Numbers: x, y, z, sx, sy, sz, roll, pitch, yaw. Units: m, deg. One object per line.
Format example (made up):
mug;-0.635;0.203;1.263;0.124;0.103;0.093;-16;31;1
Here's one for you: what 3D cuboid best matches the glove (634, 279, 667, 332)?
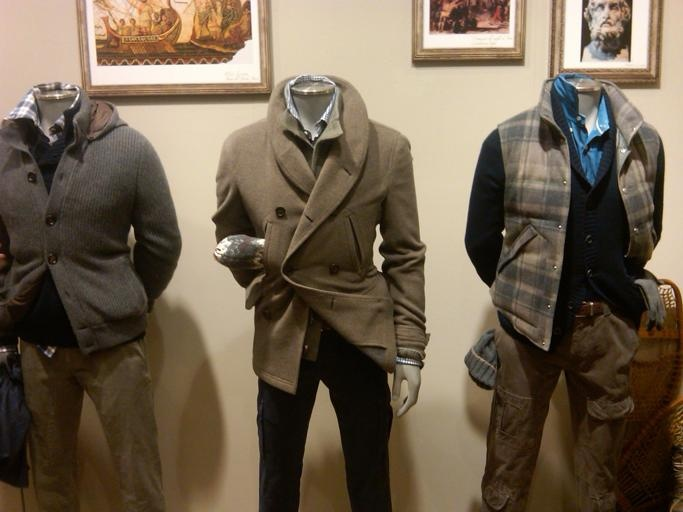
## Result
glove;1.116;0.181;2.193;0.051;0.187;0.131;-7;-16;18
